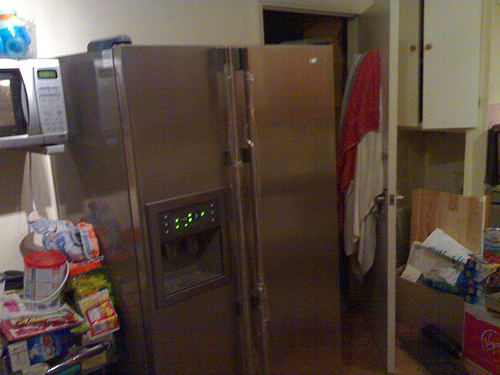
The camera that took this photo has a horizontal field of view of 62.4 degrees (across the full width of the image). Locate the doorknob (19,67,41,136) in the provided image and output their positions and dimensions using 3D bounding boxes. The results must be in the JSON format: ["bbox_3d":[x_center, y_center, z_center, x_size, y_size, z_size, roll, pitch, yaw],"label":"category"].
[{"bbox_3d":[-0.718,-0.283,1.360,0.048,0.216,0.024,-11,17,-26],"label":"doorknob"}]

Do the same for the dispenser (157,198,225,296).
[{"bbox_3d":[-0.232,0.183,1.496,0.195,0.341,0.185,-9,18,-43],"label":"dispenser"}]

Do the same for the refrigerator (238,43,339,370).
[{"bbox_3d":[0.192,0.140,1.657,0.416,1.357,0.157,-9,16,-21],"label":"refrigerator"}]

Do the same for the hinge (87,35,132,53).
[{"bbox_3d":[-0.487,-0.475,1.417,0.117,0.033,0.081,-7,17,26],"label":"hinge"}]
